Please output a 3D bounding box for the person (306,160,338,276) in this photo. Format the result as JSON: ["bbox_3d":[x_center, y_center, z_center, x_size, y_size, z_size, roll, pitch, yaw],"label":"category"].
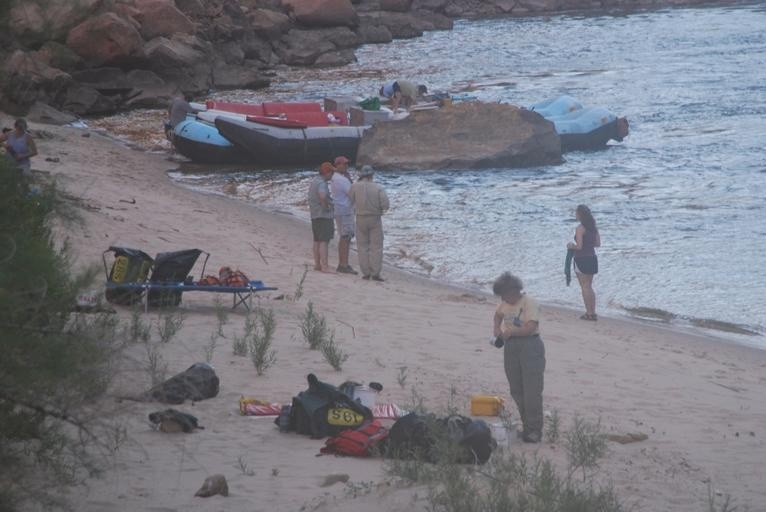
[{"bbox_3d":[-1.692,-1.070,38.466,0.931,2.854,0.848,1,0,-12],"label":"person"}]

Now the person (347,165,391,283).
[{"bbox_3d":[-0.387,-0.906,38.455,1.145,3.250,1.103,1,0,-14],"label":"person"}]

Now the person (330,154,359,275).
[{"bbox_3d":[-1.191,-1.193,38.644,0.764,3.338,1.063,-7,1,2],"label":"person"}]

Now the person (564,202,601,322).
[{"bbox_3d":[5.746,0.131,37.538,1.015,3.233,1.110,2,2,18],"label":"person"}]

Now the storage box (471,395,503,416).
[{"bbox_3d":[2.615,3.831,33.396,0.634,0.414,0.488,2,2,7],"label":"storage box"}]

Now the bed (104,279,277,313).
[{"bbox_3d":[-5.243,0.881,35.814,3.878,0.701,1.563,0,4,-16],"label":"bed"}]

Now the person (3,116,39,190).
[{"bbox_3d":[-10.065,-2.937,37.188,0.781,1.404,1.574,-16,39,-13],"label":"person"}]

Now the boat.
[{"bbox_3d":[0.559,-4.385,47.800,16.126,2.567,4.911,1,9,4],"label":"boat"}]
